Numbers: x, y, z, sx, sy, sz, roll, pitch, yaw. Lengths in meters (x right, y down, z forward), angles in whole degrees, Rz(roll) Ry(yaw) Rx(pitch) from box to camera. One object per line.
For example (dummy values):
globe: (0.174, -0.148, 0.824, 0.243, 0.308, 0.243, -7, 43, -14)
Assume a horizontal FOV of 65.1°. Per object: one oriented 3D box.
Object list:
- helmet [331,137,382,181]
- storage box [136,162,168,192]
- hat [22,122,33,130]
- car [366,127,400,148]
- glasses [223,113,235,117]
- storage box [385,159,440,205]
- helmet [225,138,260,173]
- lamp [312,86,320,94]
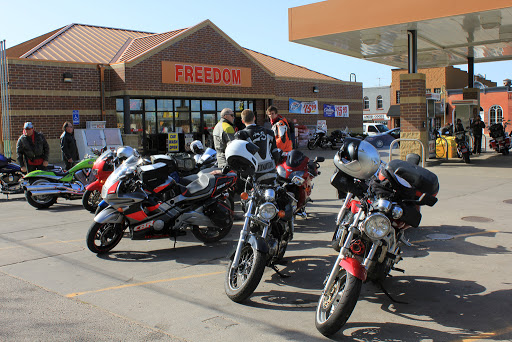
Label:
helmet: (1.434, -0.201, 5.288, 0.701, 0.410, 0.510, 13, 27, 38)
storage box: (-1.881, 0.091, 7.428, 0.573, 0.426, 0.326, -9, 26, -22)
hat: (-7.201, -1.425, 12.673, 0.225, 0.195, 0.411, -8, 12, -32)
car: (9.263, -2.393, 29.093, 3.962, 0.845, 1.924, -2, 18, 2)
glasses: (-0.605, -1.323, 9.537, 0.144, 0.098, 0.310, 4, 11, 28)
storage box: (2.038, 0.149, 5.246, 0.645, 0.542, 0.644, 2, 11, 21)
helmet: (-0.222, -0.261, 5.615, 0.488, 0.352, 0.347, 10, -25, -12)
lamp: (4.878, -6.635, 32.761, 0.468, 0.673, 0.876, 1, 3, 42)
